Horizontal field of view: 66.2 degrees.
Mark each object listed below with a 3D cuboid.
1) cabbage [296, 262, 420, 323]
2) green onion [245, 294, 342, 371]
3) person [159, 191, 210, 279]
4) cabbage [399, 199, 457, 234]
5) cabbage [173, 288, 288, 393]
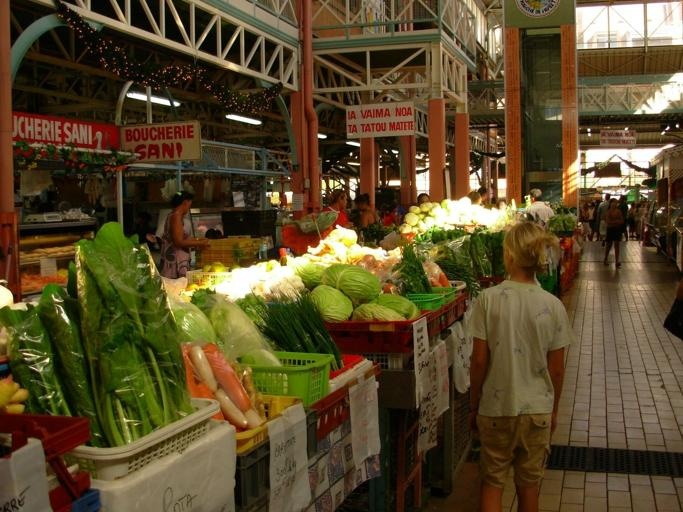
[{"bbox_3d":[0.115,0.113,3.175,0.518,0.398,0.474,12,12,30],"label":"cabbage"},{"bbox_3d":[-0.247,0.349,2.630,0.373,0.394,0.367,4,10,13],"label":"green onion"},{"bbox_3d":[-2.081,-0.266,6.820,0.604,1.654,0.733,6,11,-6],"label":"person"},{"bbox_3d":[1.169,-0.533,7.024,0.606,0.288,0.448,-41,16,-21],"label":"cabbage"},{"bbox_3d":[-0.457,0.361,2.194,0.344,0.113,0.120,46,33,10],"label":"cabbage"}]
